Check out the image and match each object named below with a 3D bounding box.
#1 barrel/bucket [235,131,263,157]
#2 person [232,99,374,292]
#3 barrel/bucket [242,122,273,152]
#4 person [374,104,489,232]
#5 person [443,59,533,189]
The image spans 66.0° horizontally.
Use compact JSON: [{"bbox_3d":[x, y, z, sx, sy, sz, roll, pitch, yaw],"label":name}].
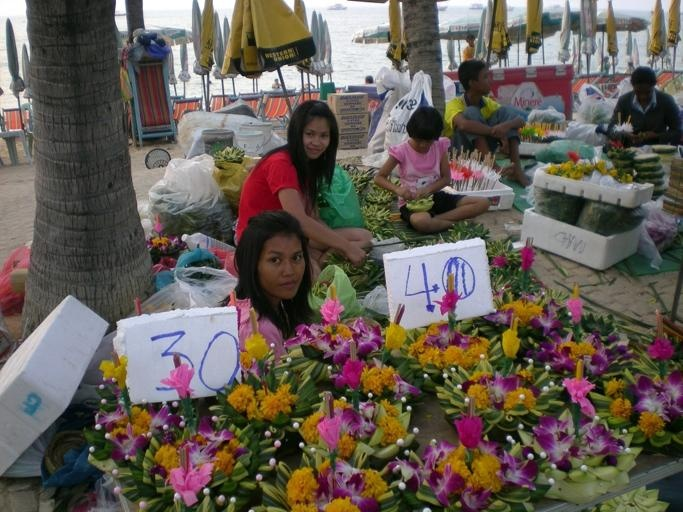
[{"bbox_3d":[-1.013,-1.248,5.759,0.303,0.243,0.313,0,20,0],"label":"barrel/bucket"},{"bbox_3d":[-0.158,-0.629,3.944,1.190,1.413,0.964,13,26,17],"label":"person"},{"bbox_3d":[-0.961,-1.334,5.884,0.358,0.283,0.358,3,23,-1],"label":"barrel/bucket"},{"bbox_3d":[0.934,-0.866,5.280,1.010,1.245,0.907,-21,31,-24],"label":"person"},{"bbox_3d":[1.730,-1.654,6.615,0.902,1.578,1.049,-11,9,-35],"label":"person"}]
